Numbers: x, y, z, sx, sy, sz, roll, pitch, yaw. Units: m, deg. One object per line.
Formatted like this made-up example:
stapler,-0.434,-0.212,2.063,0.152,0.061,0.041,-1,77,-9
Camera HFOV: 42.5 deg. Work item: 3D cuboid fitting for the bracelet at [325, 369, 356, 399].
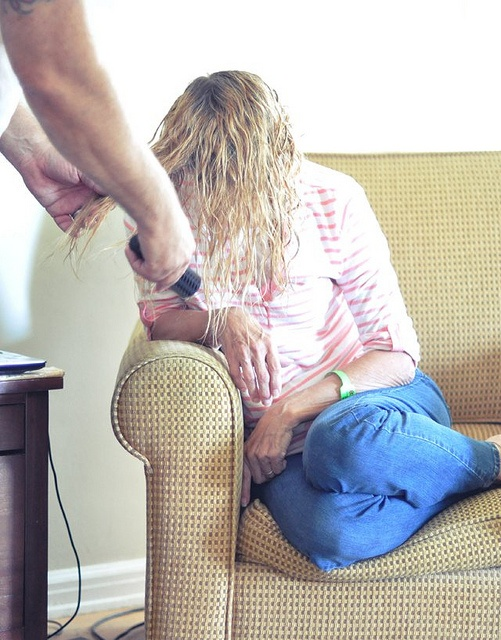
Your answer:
bracelet,0.140,0.097,1.025,0.026,0.044,0.042,-12,10,-20
